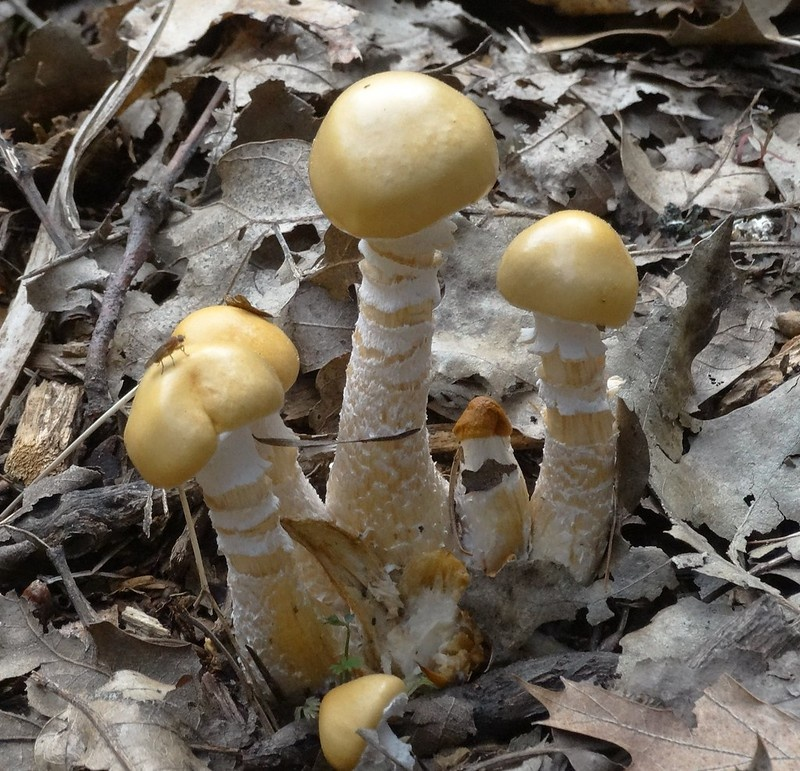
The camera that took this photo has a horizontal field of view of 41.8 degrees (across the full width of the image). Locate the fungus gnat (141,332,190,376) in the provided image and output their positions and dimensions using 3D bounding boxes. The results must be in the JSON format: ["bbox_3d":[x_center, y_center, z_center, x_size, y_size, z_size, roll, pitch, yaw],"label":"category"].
[{"bbox_3d":[-0.804,-0.111,3.693,0.149,0.044,0.105,-33,28,-8],"label":"fungus gnat"}]
